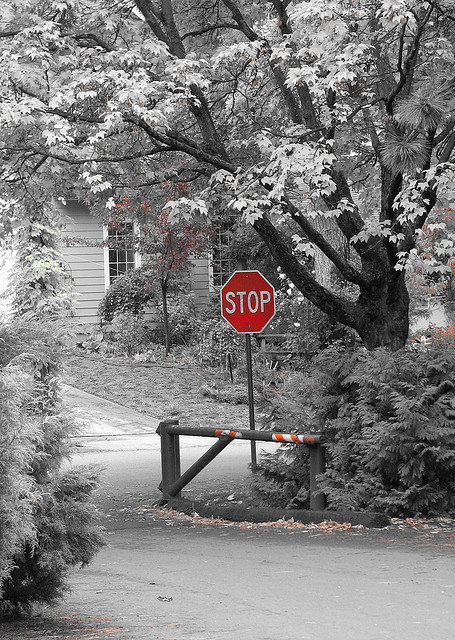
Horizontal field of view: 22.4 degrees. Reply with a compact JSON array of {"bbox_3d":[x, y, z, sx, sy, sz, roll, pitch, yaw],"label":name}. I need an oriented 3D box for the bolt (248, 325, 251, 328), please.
[{"bbox_3d":[0.226,0.075,11.999,0.020,0.025,0.021,1,5,6],"label":"bolt"}]

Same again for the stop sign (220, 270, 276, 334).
[{"bbox_3d":[0.208,-0.179,12.076,0.537,0.436,0.411,-2,1,-3],"label":"stop sign"}]

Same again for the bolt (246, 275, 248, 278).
[{"bbox_3d":[0.202,-0.451,11.995,0.019,0.019,0.035,0,-4,2],"label":"bolt"}]
